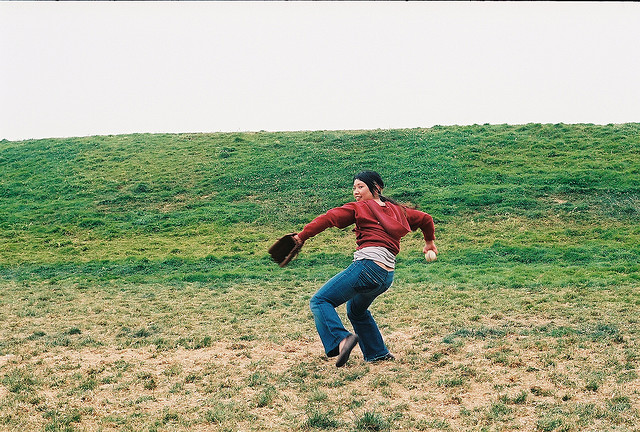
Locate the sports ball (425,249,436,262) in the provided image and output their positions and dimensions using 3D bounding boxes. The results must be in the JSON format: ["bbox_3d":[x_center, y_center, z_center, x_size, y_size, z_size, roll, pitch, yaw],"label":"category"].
[{"bbox_3d":[2.353,0.863,16.231,0.261,0.261,0.211,2,42,0],"label":"sports ball"}]

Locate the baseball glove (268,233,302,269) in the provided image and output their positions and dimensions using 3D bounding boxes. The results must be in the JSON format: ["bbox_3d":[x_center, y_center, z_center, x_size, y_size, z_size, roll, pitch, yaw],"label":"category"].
[{"bbox_3d":[-0.749,0.716,15.483,0.661,0.699,0.347,-7,12,-20],"label":"baseball glove"}]
